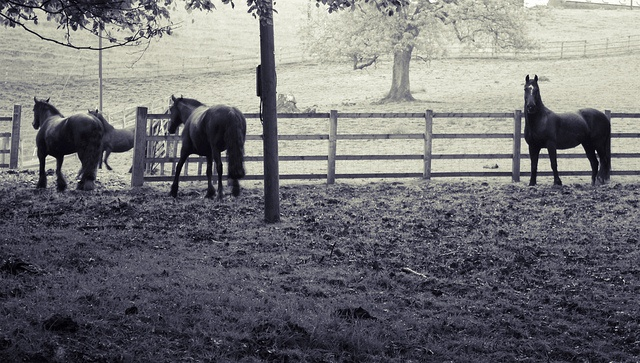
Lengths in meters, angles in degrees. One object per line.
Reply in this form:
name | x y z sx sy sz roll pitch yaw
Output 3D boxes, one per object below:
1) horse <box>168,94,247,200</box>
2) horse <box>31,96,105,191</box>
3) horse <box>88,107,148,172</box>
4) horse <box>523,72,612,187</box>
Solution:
horse | -5.343 -1.585 33.960 1.812 4.900 6.889 1 -1 -36
horse | -12.152 -1.736 34.240 5.073 4.496 1.734 -1 -4 34
horse | -10.573 -1.868 37.316 1.228 3.011 4.519 7 0 22
horse | 11.821 -2.138 34.840 5.774 4.849 1.860 3 0 -25
